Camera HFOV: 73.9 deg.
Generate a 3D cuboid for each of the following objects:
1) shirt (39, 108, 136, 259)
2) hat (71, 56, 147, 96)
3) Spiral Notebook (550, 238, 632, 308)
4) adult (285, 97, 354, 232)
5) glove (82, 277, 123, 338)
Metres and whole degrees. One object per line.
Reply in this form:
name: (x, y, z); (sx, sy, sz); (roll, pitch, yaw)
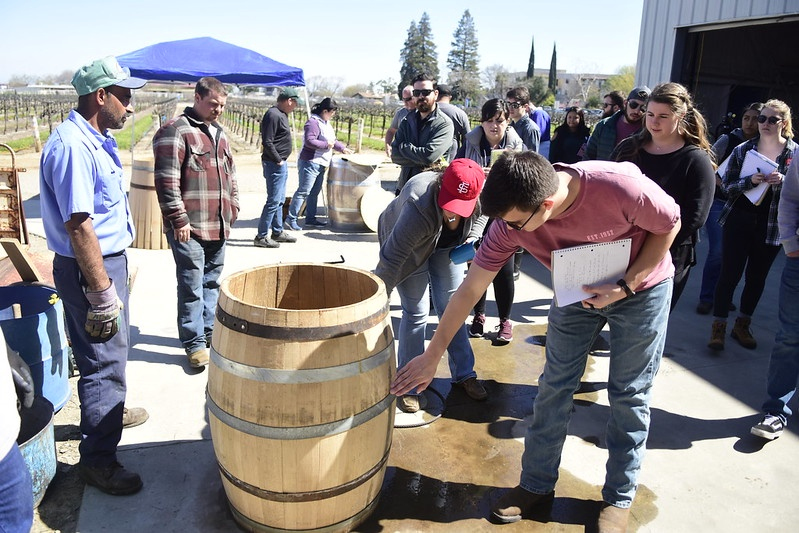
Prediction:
shirt: (-1.982, -0.521, 3.379); (0.520, 0.925, 0.450); (-14, 22, -41)
hat: (-1.922, -1.237, 3.494); (0.426, 0.229, 0.270); (-21, 18, -25)
Spiral Notebook: (1.111, 0.018, 3.067); (0.345, 0.296, 0.058); (-11, 26, -4)
adult: (-1.368, -1.755, 9.165); (0.745, 2.227, 0.967); (16, 20, 31)
glove: (-1.876, 0.263, 3.330); (0.177, 0.341, 0.259); (16, 20, 12)
